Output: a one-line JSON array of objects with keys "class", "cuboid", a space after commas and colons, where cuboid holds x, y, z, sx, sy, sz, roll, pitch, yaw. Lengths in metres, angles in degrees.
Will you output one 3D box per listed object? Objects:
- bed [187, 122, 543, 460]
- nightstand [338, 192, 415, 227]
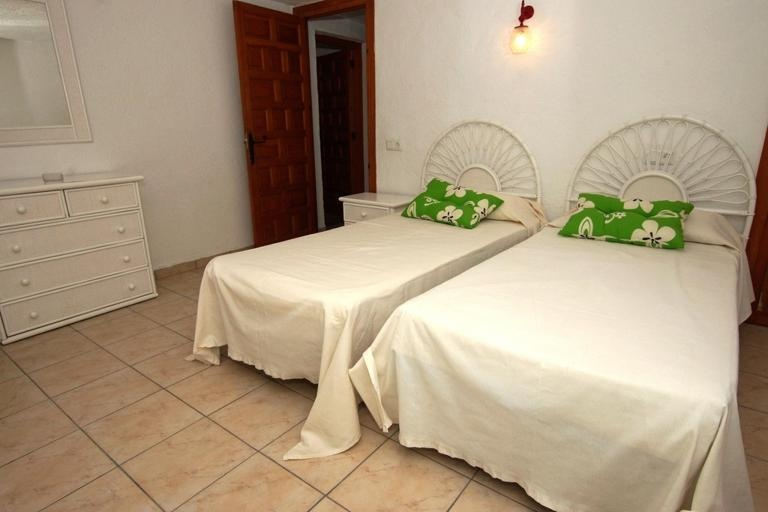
[{"class": "bed", "cuboid": [-0.010, 0.043, 4.452, 1.974, 2.066, 3.105, 13, 21, 40]}, {"class": "nightstand", "cuboid": [-0.051, -0.624, 5.054, 0.540, 0.544, 0.368, 11, 17, 40]}]
